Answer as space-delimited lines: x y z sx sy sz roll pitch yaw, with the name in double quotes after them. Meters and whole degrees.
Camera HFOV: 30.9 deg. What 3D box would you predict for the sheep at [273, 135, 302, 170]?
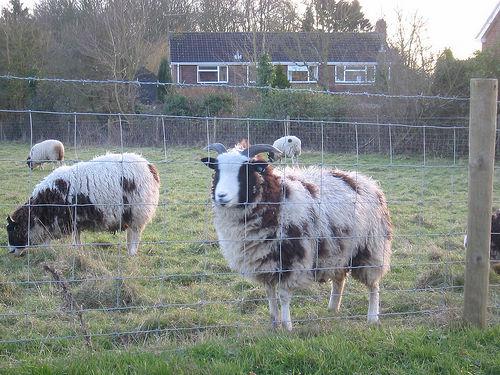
1.545 -1.739 38.921 0.854 1.624 2.012 0 14 -19 "sheep"
